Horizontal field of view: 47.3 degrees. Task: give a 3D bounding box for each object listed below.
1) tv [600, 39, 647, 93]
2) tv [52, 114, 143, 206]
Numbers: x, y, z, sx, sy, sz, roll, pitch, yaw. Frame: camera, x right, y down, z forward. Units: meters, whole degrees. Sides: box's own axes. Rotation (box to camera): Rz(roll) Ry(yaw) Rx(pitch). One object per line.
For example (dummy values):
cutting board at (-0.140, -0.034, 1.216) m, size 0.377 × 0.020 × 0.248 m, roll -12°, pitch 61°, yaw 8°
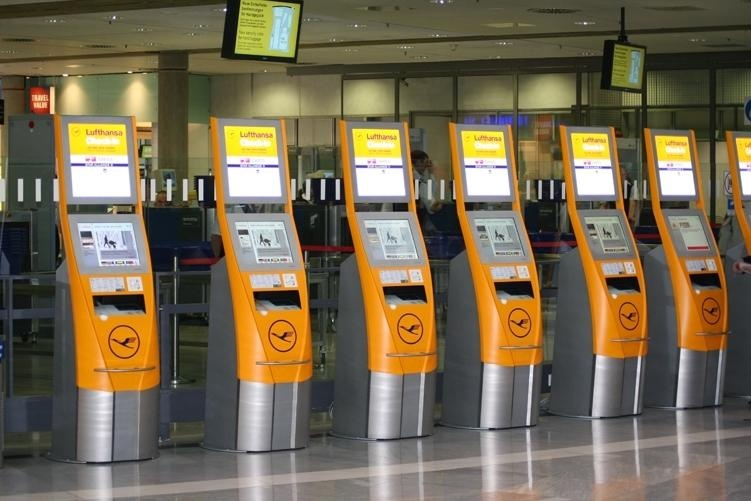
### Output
tv at (3.863, -2.869, 13.381) m, size 0.932 × 0.780 × 0.297 m, roll -4°, pitch 5°, yaw -44°
tv at (-2.085, -0.670, 6.544) m, size 0.746 × 0.672 × 0.056 m, roll 2°, pitch 10°, yaw 20°
